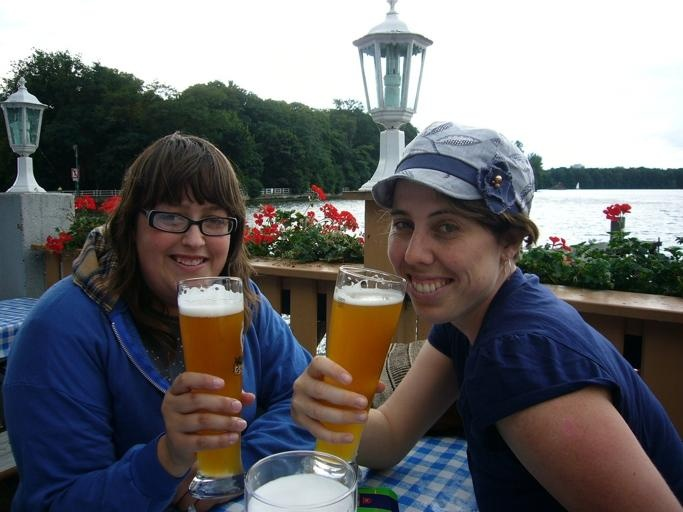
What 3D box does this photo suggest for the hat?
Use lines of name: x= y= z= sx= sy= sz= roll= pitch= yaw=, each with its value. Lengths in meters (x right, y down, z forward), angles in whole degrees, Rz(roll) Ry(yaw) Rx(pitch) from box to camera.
hat: x=0.445 y=-0.294 z=2.186 sx=0.490 sy=0.255 sz=0.364 roll=16 pitch=-6 yaw=-26
